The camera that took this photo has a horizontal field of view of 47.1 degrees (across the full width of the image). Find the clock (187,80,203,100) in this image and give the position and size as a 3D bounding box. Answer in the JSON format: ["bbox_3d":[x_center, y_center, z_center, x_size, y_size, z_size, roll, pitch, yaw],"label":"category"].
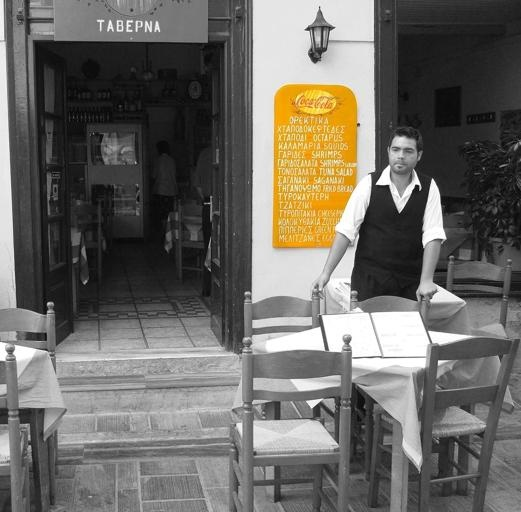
[{"bbox_3d":[-1.235,-3.141,11.288,0.262,0.337,0.715,-3,14,-7],"label":"clock"}]

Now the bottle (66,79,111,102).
[{"bbox_3d":[-3.196,-3.088,11.210,0.799,0.407,0.364,-6,13,-17],"label":"bottle"}]

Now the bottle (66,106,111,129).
[{"bbox_3d":[-3.154,-2.587,11.111,0.772,0.381,0.259,-6,12,-19],"label":"bottle"}]

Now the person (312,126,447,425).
[{"bbox_3d":[0.669,0.091,3.368,0.641,1.699,0.535,3,-6,14],"label":"person"}]

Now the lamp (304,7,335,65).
[{"bbox_3d":[0.447,-1.673,4.518,0.213,0.417,0.212,-1,11,-1],"label":"lamp"}]

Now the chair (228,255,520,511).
[{"bbox_3d":[0.262,0.552,2.192,0.763,0.866,0.938,0,10,-5],"label":"chair"}]
